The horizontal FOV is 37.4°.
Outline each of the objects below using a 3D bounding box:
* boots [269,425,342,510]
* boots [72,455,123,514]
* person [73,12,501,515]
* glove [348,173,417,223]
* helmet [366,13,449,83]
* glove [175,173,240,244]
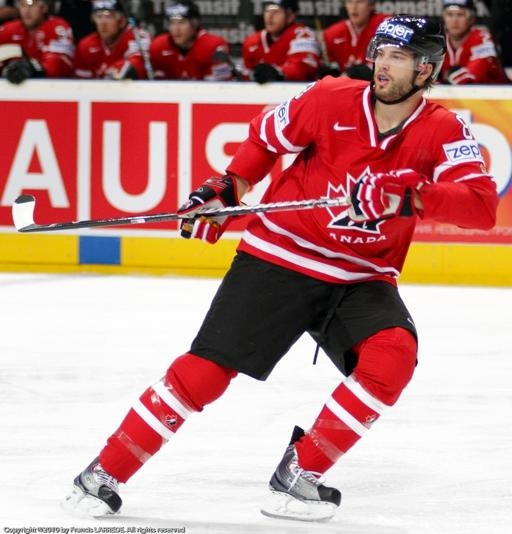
[{"bbox_3d":[0.107,0.471,1.686,0.075,0.127,0.149,-8,14,-35],"label":"boots"},{"bbox_3d":[-0.332,0.471,1.671,0.080,0.096,0.205,14,-6,-34],"label":"boots"},{"bbox_3d":[0.079,-0.024,1.763,0.893,1.135,0.530,-1,13,-9],"label":"person"},{"bbox_3d":[0.273,-0.154,1.601,0.161,0.082,0.063,-2,-19,6],"label":"glove"},{"bbox_3d":[0.365,-0.533,1.841,0.228,0.139,0.150,6,5,-19],"label":"helmet"},{"bbox_3d":[-0.116,-0.142,1.863,0.151,0.070,0.254,9,15,-1],"label":"glove"}]
